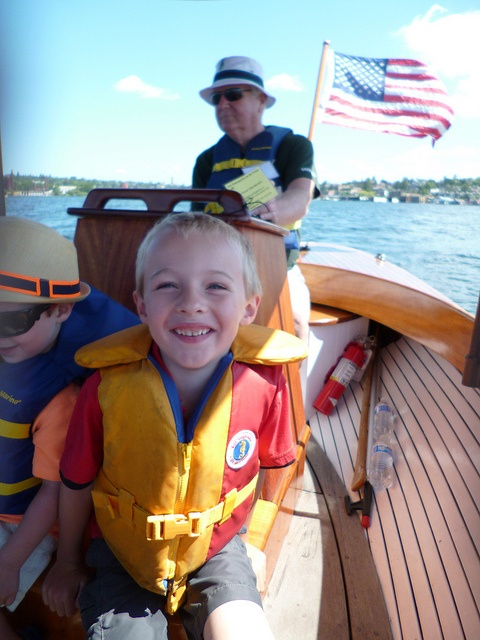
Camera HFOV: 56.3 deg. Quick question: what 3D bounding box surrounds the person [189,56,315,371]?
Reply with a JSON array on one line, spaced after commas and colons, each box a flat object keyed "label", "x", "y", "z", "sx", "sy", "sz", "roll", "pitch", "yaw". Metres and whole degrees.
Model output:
[{"label": "person", "x": 0.040, "y": -0.460, "z": 2.384, "sx": 0.547, "sy": 1.667, "sz": 0.650, "roll": 5, "pitch": 15, "yaw": 8}]

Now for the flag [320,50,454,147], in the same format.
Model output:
[{"label": "flag", "x": 2.817, "y": -4.345, "z": 8.620, "sx": 3.248, "sy": 1.614, "sz": 0.821, "roll": -6, "pitch": 14, "yaw": -34}]

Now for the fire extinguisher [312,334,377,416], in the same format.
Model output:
[{"label": "fire extinguisher", "x": 0.680, "y": 0.368, "z": 3.092, "sx": 0.320, "sy": 0.578, "sz": 0.310, "roll": -10, "pitch": 17, "yaw": -38}]
